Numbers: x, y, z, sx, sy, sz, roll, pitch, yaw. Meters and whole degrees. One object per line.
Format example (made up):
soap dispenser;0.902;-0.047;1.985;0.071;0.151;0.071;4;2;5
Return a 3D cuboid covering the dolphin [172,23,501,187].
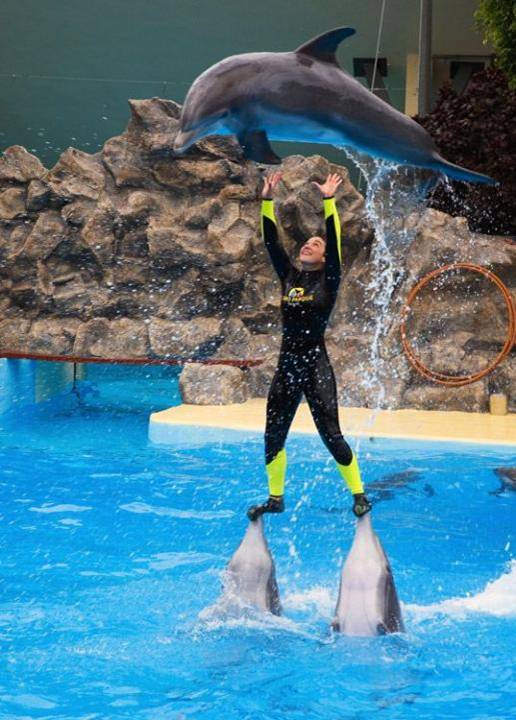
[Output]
dolphin;0.246;-1.055;3.363;1.748;0.710;0.631;0;-1;-26

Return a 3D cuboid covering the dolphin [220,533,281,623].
dolphin;-0.048;0.870;2.873;0.231;0.505;0.265;3;-3;-9

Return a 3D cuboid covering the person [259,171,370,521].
person;0.283;-0.071;3.055;0.484;1.318;0.564;0;2;-3

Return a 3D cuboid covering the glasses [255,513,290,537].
glasses;0.052;0.566;2.445;0.086;0.027;0.091;-32;-5;32

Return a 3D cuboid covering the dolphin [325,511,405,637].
dolphin;0.420;0.841;2.663;0.265;0.459;0.180;0;7;10

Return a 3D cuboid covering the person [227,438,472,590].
person;0.380;0.648;2.875;0.569;0.462;1.190;-16;-17;37
